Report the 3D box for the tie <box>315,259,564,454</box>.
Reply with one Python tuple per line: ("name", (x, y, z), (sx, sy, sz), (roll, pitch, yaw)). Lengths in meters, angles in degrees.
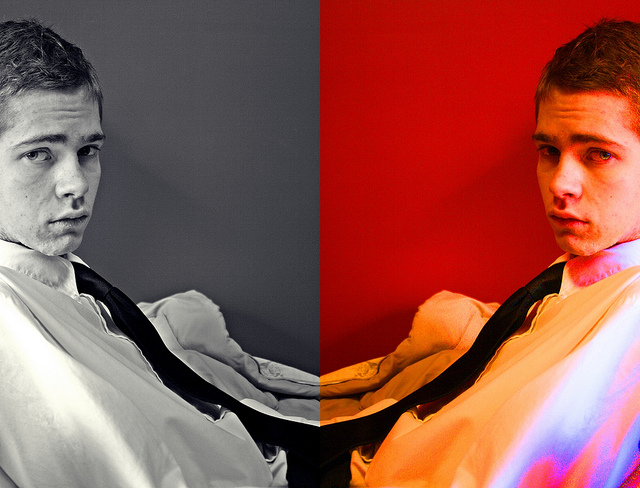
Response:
("tie", (0.592, 0.524, 3.864), (1.587, 0.231, 0.195), (-27, -29, -40))
